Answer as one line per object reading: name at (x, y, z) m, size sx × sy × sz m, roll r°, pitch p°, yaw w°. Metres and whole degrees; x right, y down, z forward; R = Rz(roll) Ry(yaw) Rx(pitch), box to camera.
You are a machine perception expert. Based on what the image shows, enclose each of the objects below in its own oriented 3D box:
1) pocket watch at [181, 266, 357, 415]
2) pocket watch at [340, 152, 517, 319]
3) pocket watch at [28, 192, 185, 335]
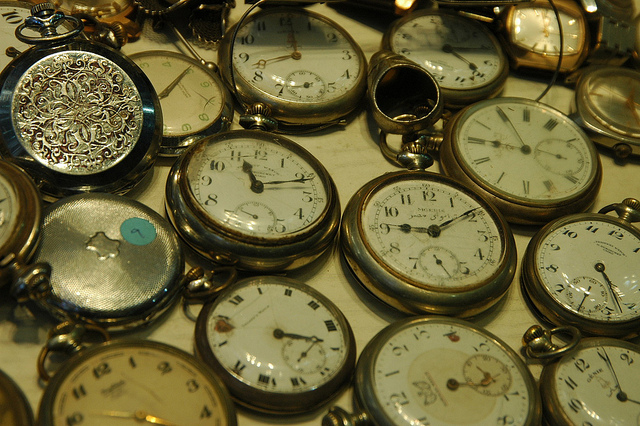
pocket watch at (-0.274, 0.560, 3.918) m, size 0.645 × 0.764 × 0.224 m, roll -45°, pitch -15°, yaw -35°
pocket watch at (0.549, 0.144, 4.278) m, size 0.885 × 0.787 × 0.286 m, roll -4°, pitch -8°, yaw 4°
pocket watch at (-1.048, 0.147, 4.316) m, size 1.024 × 0.573 × 0.763 m, roll -6°, pitch 12°, yaw -21°
